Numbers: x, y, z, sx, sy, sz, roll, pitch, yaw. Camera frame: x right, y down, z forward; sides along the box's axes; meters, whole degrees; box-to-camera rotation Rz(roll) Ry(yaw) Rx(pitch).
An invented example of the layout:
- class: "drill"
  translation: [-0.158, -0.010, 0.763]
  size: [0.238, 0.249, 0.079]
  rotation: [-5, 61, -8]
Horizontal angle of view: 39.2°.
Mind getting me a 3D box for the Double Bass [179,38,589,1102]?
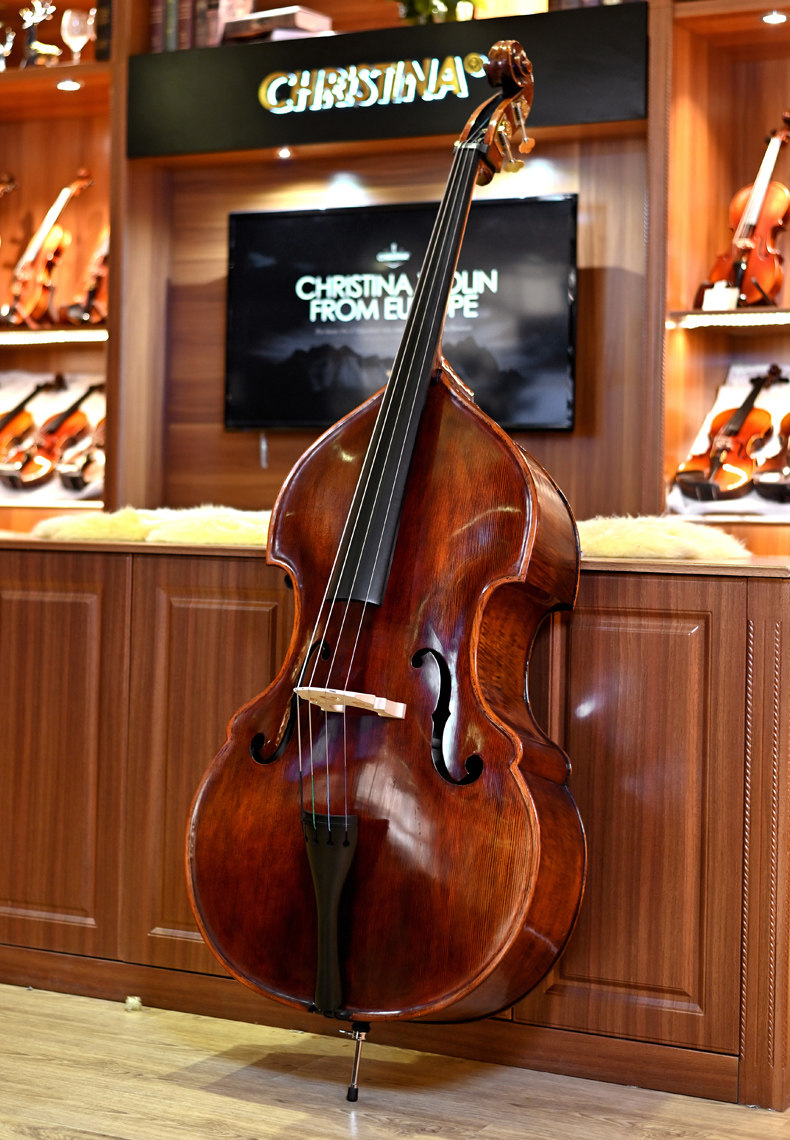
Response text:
- class: "Double Bass"
  translation: [0.009, 0.076, 1.424]
  size: [0.477, 1.212, 0.629]
  rotation: [2, 9, 11]
